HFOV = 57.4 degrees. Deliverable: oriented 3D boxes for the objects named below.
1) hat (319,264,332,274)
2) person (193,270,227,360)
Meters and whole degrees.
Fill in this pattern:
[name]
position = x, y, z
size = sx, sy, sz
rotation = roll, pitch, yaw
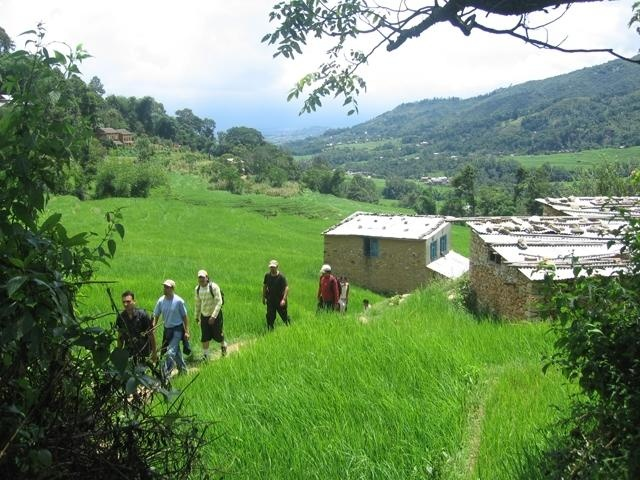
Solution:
[hat]
position = 0.145, 0.923, 17.976
size = 0.502, 0.291, 0.344
rotation = 2, 5, 40
[person]
position = -2.761, 1.924, 14.735
size = 0.679, 2.356, 0.771
rotation = -6, 7, -14
